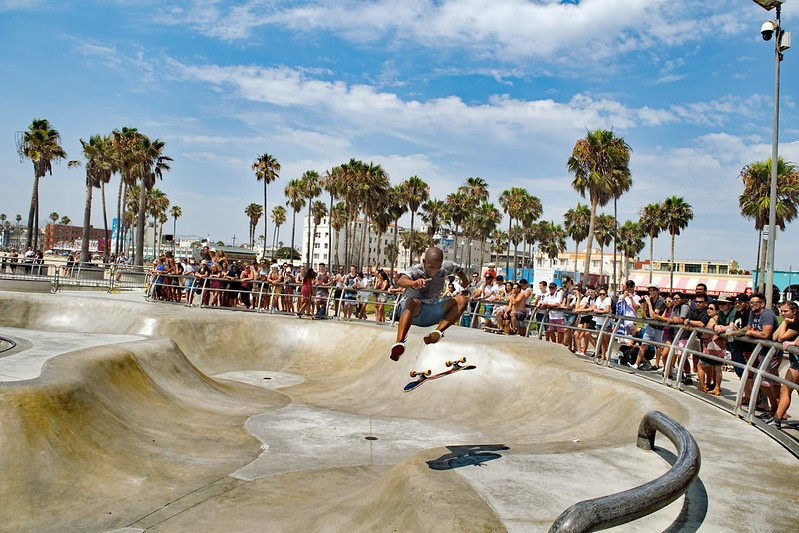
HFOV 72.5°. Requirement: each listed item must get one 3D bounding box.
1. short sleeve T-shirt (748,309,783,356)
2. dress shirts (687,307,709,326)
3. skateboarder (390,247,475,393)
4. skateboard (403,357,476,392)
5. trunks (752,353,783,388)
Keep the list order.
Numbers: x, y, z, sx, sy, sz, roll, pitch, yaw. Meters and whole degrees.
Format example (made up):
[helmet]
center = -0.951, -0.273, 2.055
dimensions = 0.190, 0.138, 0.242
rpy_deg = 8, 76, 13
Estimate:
[short sleeve T-shirt]
center = 6.610, 1.247, 9.911
dimensions = 0.567, 0.905, 0.638
rpy_deg = -6, -13, 30
[dress shirts]
center = 6.085, 1.069, 11.165
dimensions = 0.471, 0.328, 0.341
rpy_deg = 30, -25, -31
[skateboarder]
center = 0.561, 0.769, 8.928
dimensions = 1.445, 2.387, 1.117
rpy_deg = -1, -2, 1
[skateboard]
center = 0.718, 1.841, 9.559
dimensions = 0.403, 0.334, 1.750
rpy_deg = -12, -4, 41
[trunks]
center = 6.341, 1.734, 9.152
dimensions = 0.552, 0.496, 0.316
rpy_deg = -9, 38, 3
